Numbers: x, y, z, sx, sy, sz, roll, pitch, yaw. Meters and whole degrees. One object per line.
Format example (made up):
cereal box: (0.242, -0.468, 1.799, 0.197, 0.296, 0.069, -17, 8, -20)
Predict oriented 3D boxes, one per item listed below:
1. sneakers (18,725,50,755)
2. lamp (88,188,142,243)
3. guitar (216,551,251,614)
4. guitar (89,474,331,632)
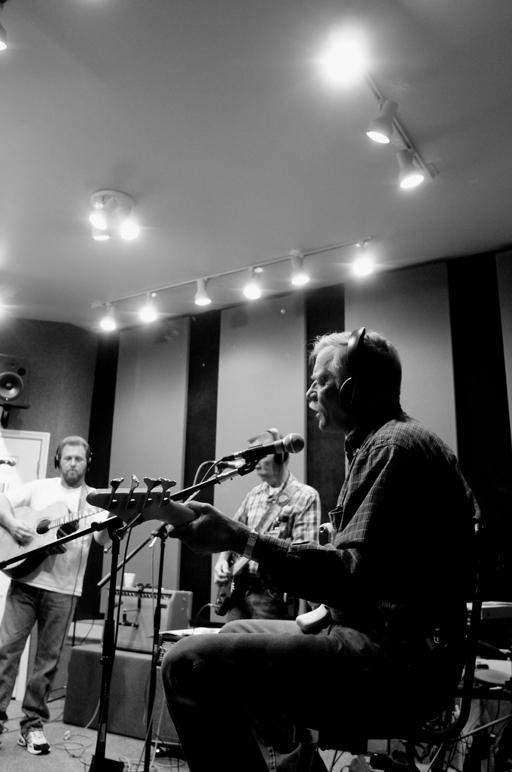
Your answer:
sneakers: (-1.235, 1.987, 3.448, 0.091, 0.106, 0.223, 20, -30, -35)
lamp: (-0.952, -1.144, 4.203, 0.367, 0.272, 0.628, 4, 7, -12)
guitar: (-0.082, 1.109, 3.506, 0.235, 0.323, 0.101, 0, -12, 44)
guitar: (-0.090, 0.798, 2.970, 1.391, 0.227, 0.587, 10, 34, -15)
